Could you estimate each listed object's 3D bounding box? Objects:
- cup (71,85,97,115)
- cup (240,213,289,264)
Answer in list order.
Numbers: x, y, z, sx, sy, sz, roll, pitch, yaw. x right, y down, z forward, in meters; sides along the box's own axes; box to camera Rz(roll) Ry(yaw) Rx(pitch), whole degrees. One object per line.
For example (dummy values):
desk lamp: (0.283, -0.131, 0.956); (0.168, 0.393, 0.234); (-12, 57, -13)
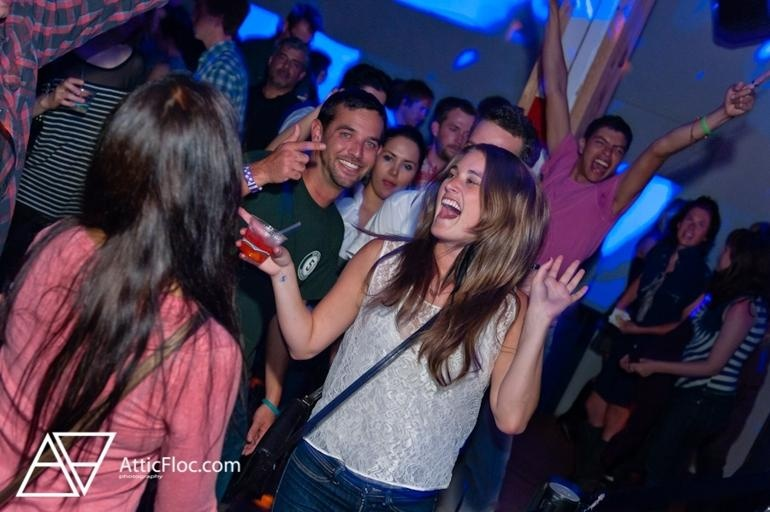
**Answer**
cup: (-1.682, -0.872, 3.119); (0.087, 0.158, 0.049); (15, 7, -30)
cup: (-0.540, -0.056, 2.401); (0.195, 0.171, 0.075); (19, 6, -9)
